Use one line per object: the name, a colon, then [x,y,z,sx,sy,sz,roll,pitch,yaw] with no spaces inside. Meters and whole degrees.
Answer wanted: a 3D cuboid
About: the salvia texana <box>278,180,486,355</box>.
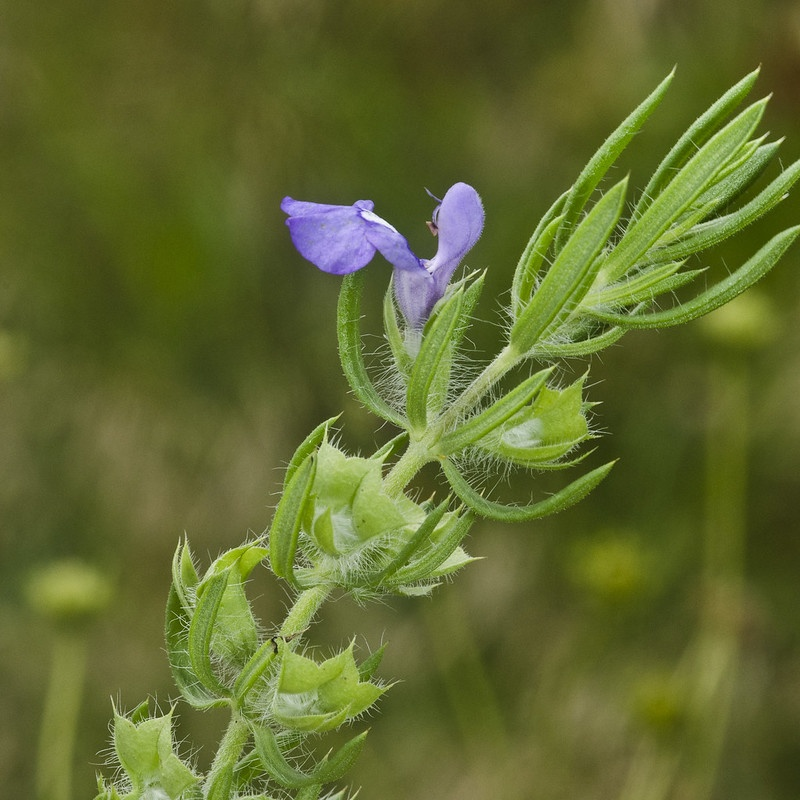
salvia texana: [-0.016,-0.131,0.907,0.131,0.074,0.134,21,10,-37]
